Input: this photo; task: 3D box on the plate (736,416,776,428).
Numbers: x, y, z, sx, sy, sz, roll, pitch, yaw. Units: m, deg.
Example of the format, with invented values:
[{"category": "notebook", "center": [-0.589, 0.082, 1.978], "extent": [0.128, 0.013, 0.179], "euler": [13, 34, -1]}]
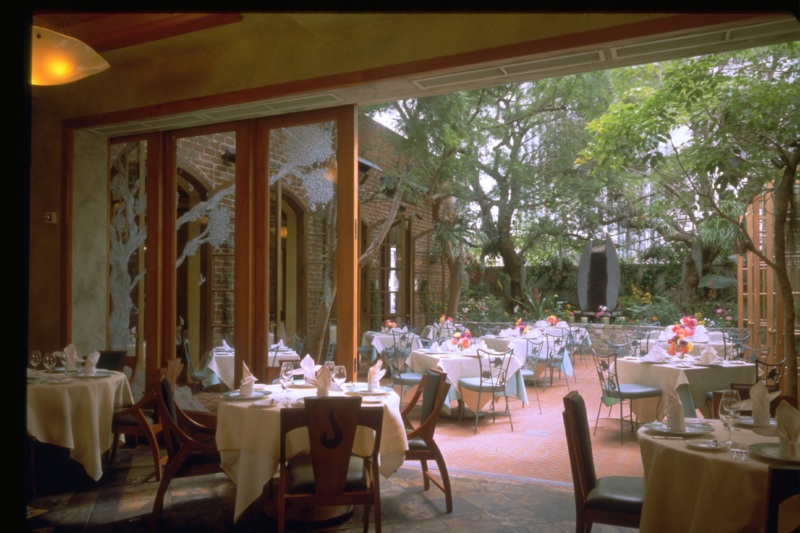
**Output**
[{"category": "plate", "center": [2.817, 1.235, 4.676], "extent": [0.249, 0.062, 0.355], "euler": [-5, -8, 35]}]

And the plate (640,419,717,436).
[{"category": "plate", "center": [2.082, 1.225, 4.418], "extent": [0.506, 0.074, 0.299], "euler": [-1, -7, 13]}]

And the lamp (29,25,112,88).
[{"category": "lamp", "center": [-2.845, -1.807, 5.053], "extent": [0.585, 0.423, 0.432], "euler": [2, -6, -15]}]

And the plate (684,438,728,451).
[{"category": "plate", "center": [2.153, 1.266, 4.174], "extent": [0.283, 0.052, 0.253], "euler": [-1, -7, 7]}]
